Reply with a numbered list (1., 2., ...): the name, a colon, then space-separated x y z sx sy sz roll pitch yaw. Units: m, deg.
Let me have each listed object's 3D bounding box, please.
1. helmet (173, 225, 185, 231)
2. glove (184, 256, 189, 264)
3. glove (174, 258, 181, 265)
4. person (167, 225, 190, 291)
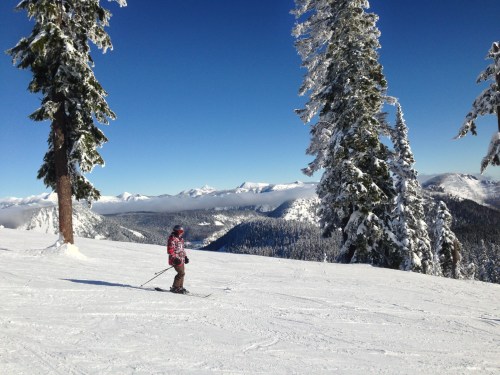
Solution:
1. helmet: -3.085 1.803 19.264 0.359 0.297 0.291 29 -16 -13
2. glove: -2.762 3.206 19.305 0.220 0.342 0.126 -2 0 4
3. glove: -3.087 3.222 19.003 0.299 0.317 0.087 4 -7 -18
4. person: -3.168 3.141 19.493 0.873 2.917 1.114 2 -7 -8
